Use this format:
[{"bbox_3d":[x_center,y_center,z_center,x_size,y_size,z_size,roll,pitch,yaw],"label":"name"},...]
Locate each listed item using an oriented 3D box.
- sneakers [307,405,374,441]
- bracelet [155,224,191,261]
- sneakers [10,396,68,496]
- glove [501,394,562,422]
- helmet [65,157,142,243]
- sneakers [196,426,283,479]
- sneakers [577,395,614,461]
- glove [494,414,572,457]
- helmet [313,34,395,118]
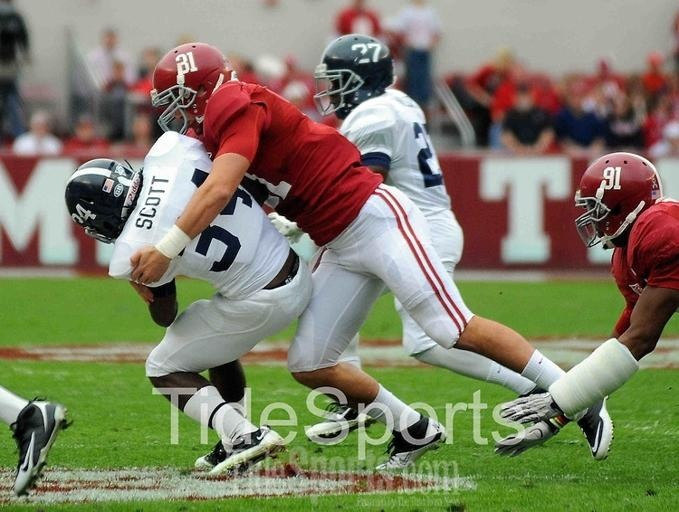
[{"bbox_3d":[0.019,0.965,5.464,0.359,0.126,0.174,-13,51,-30],"label":"sneakers"},{"bbox_3d":[-0.796,-0.059,4.628,0.140,0.130,0.168,40,5,0],"label":"bracelet"},{"bbox_3d":[-1.425,0.923,4.569,0.266,0.432,0.214,-4,9,-25],"label":"sneakers"},{"bbox_3d":[0.944,0.769,4.759,0.231,0.147,0.084,-19,-9,-3],"label":"glove"},{"bbox_3d":[-1.156,-0.314,4.840,0.359,0.415,0.322,15,40,-5],"label":"helmet"},{"bbox_3d":[-0.499,1.010,4.852,0.325,0.114,0.145,-22,32,11],"label":"sneakers"},{"bbox_3d":[1.348,0.877,5.047,0.172,0.135,0.378,4,39,0],"label":"sneakers"},{"bbox_3d":[1.016,0.948,4.993,0.338,0.102,0.128,-27,45,-5],"label":"glove"},{"bbox_3d":[0.071,-1.106,5.948,0.528,0.488,0.433,-4,4,-1],"label":"helmet"}]
